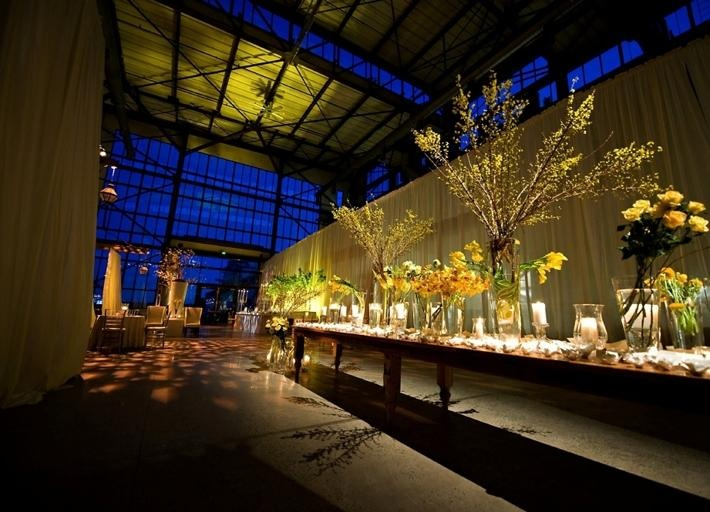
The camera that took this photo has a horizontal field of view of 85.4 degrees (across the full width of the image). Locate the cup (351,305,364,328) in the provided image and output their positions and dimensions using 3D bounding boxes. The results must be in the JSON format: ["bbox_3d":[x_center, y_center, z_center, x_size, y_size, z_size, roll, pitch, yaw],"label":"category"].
[{"bbox_3d":[0.031,0.620,3.944,0.110,0.219,0.354,1,3,-1],"label":"cup"}]

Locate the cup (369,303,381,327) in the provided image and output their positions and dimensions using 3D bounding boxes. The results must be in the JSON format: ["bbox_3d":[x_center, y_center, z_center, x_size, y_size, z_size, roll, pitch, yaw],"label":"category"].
[{"bbox_3d":[0.205,0.582,3.856,0.105,0.205,0.267,1,3,0],"label":"cup"}]

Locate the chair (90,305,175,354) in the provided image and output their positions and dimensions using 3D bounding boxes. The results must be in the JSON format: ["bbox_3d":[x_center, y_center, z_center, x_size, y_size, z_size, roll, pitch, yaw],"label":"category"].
[{"bbox_3d":[-3.807,1.241,6.371,0.819,0.446,0.859,5,-1,-11],"label":"chair"}]

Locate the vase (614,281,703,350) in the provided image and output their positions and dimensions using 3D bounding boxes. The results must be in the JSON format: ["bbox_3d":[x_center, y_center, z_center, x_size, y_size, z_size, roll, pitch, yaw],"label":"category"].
[{"bbox_3d":[1.890,0.360,2.408,0.450,0.386,0.425,-8,-13,22],"label":"vase"}]
